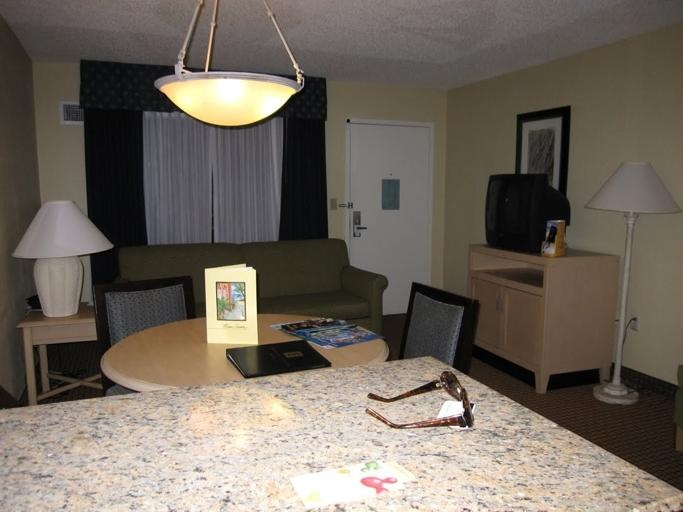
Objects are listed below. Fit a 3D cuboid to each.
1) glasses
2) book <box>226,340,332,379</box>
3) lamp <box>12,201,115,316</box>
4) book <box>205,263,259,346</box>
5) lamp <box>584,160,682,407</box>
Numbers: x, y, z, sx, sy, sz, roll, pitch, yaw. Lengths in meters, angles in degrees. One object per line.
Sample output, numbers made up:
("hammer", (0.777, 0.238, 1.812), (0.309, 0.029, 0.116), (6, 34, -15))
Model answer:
("glasses", (0.223, 0.411, 1.350), (0.180, 0.059, 0.184), (-13, 13, -11))
("book", (-0.265, 0.410, 2.039), (0.349, 0.038, 0.348), (-6, 13, -29))
("lamp", (-1.869, 0.022, 3.383), (0.487, 0.771, 0.363), (2, 12, 10))
("book", (-0.458, 0.221, 2.326), (0.326, 0.425, 0.273), (0, -1, -14))
("lamp", (2.009, 0.177, 3.600), (0.550, 1.676, 0.597), (9, 15, 35))
